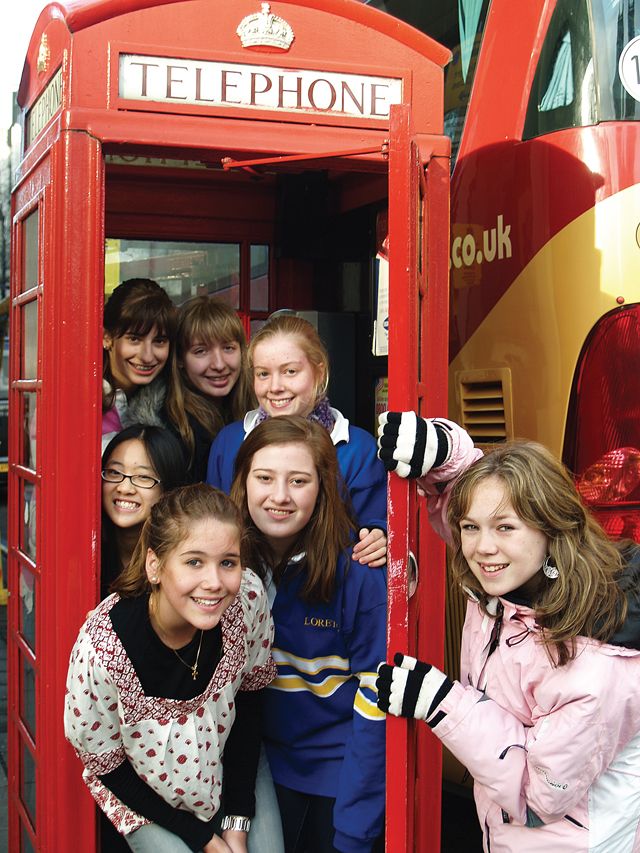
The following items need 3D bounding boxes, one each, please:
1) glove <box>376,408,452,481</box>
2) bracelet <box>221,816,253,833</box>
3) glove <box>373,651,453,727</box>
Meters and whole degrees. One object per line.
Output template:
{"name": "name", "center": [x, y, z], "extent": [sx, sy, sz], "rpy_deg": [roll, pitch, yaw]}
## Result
{"name": "glove", "center": [0.182, 0.032, 1.701], "extent": [0.070, 0.113, 0.165], "rpy_deg": [-8, 16, 36]}
{"name": "bracelet", "center": [-0.216, 1.013, 2.113], "extent": [0.057, 0.041, 0.061], "rpy_deg": [-2, -11, 15]}
{"name": "glove", "center": [0.188, 0.521, 1.631], "extent": [0.152, 0.155, 0.072], "rpy_deg": [-2, -2, 4]}
